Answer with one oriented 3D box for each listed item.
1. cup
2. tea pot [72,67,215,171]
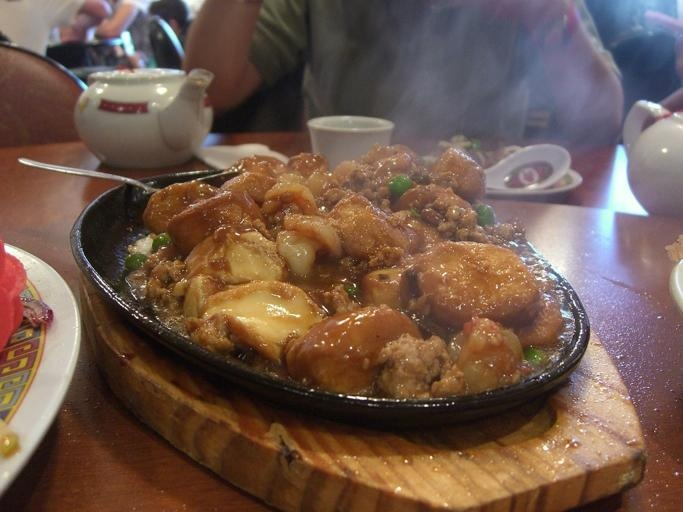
[{"bbox_3d":[0.034,-0.591,3.046,0.355,0.277,0.346,2,17,-1],"label":"cup"},{"bbox_3d":[-0.933,-0.683,3.049,0.617,0.408,0.505,15,29,27],"label":"tea pot"}]
